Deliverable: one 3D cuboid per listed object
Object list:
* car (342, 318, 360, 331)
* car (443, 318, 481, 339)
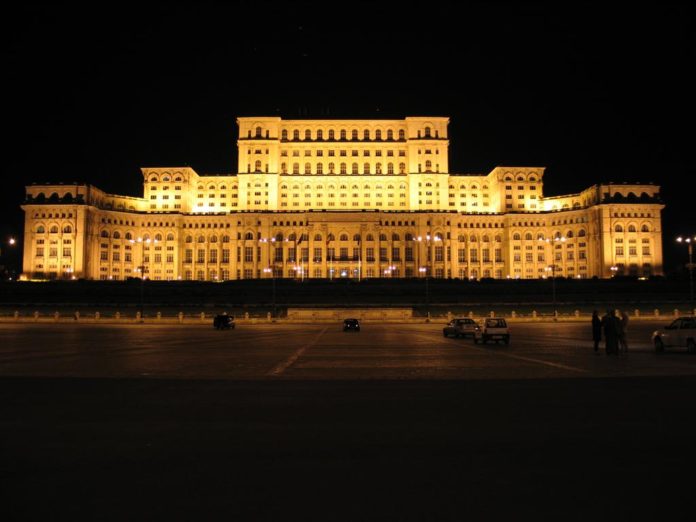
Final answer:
[{"bbox_3d":[0.154,3.435,46.971,0.942,0.694,1.999,0,1,1],"label":"car"},{"bbox_3d":[5.173,3.158,40.079,1.616,0.920,1.619,2,5,19],"label":"car"}]
